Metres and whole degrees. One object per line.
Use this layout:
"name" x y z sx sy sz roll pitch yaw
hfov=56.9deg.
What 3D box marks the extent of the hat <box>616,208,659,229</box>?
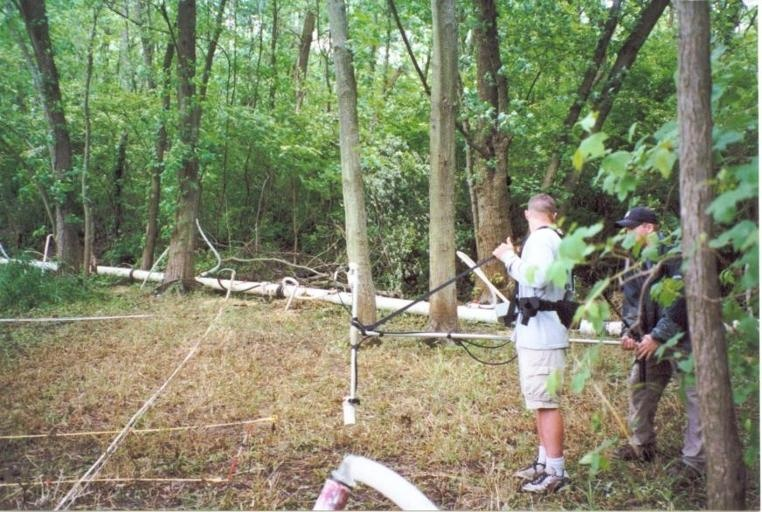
"hat" 3.362 -0.494 9.143 0.515 0.285 0.360 5 1 8
